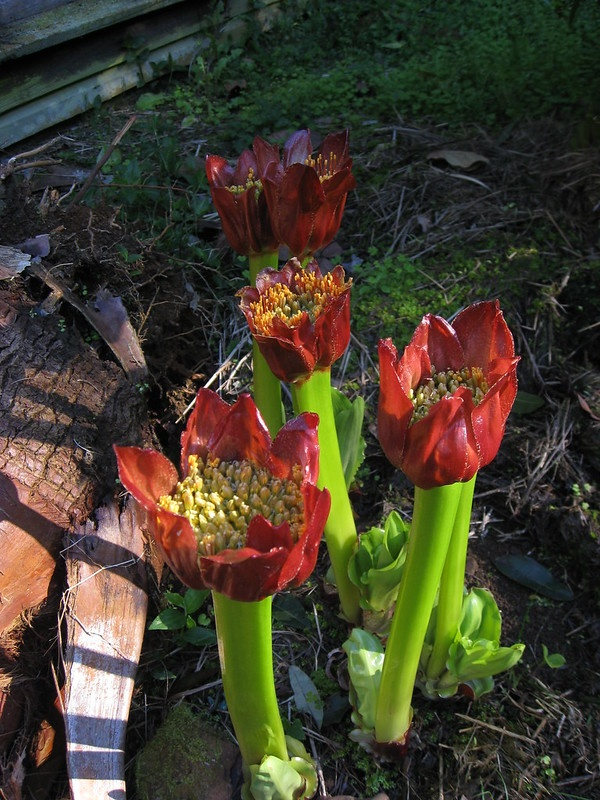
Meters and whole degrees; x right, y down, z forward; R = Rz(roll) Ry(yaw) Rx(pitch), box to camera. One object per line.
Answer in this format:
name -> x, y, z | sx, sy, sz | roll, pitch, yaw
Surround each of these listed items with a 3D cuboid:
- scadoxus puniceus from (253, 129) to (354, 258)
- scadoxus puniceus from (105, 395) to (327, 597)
scadoxus puniceus -> -0.012, -0.507, 1.649 | 0.308, 0.299, 0.319 | -5, 32, -12
scadoxus puniceus -> -0.107, 0.143, 1.103 | 0.338, 0.264, 0.358 | 12, 50, 20
